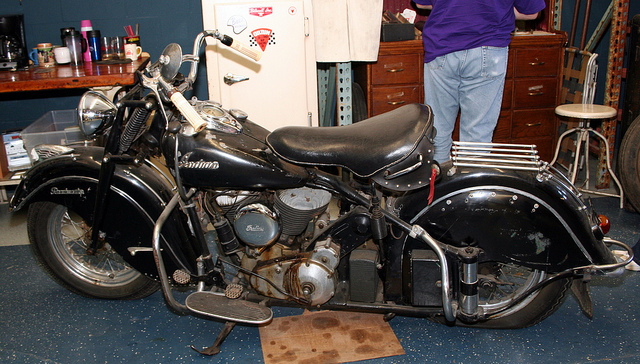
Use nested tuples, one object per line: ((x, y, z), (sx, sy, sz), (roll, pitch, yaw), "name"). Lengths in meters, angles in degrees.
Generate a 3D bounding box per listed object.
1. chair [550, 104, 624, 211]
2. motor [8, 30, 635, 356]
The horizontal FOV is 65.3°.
((2.782, -0.273, 5.329), (0.849, 0.998, 0.851), (8, 1, 41), "chair")
((-0.054, -0.126, 4.578), (5.476, 2.593, 2.145), (4, 25, 7), "motor")
